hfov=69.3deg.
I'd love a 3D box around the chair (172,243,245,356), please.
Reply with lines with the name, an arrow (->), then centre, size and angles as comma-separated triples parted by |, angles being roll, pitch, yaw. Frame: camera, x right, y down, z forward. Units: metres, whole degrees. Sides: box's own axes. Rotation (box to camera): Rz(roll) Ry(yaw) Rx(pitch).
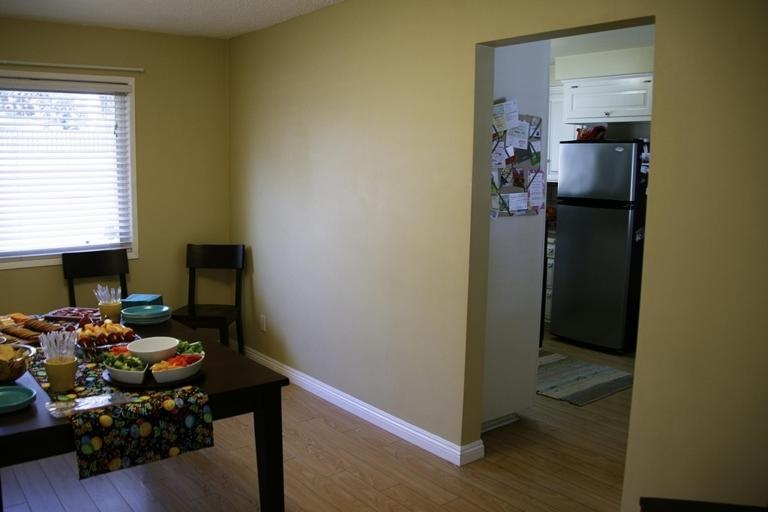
chair -> -1.576, 0.449, 4.855 | 0.718, 1.018, 0.734 | -1, 10, -15

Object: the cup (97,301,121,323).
cup -> -1.642, 0.340, 3.362 | 0.123, 0.132, 0.121 | 0, 1, 0

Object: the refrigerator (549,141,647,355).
refrigerator -> 2.177, -0.103, 5.709 | 0.909, 2.110, 0.428 | 7, 14, 25

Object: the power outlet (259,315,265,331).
power outlet -> -1.090, 0.602, 5.006 | 0.018, 0.173, 0.152 | 0, 1, -37

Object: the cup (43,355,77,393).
cup -> -1.470, 0.539, 2.539 | 0.153, 0.169, 0.153 | 0, -1, 0
